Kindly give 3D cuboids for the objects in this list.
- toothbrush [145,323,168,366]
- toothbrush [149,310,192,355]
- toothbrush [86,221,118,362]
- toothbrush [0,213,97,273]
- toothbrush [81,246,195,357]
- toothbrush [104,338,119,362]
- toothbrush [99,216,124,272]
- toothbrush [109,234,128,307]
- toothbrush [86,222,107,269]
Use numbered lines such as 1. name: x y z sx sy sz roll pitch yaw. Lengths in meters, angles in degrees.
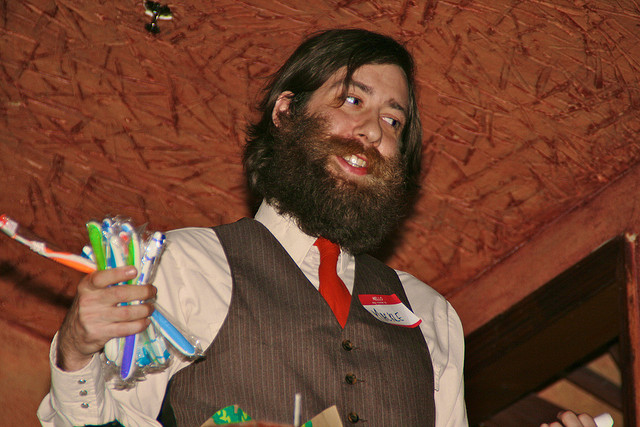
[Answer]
1. toothbrush: -0.610 0.512 2.819 0.081 0.102 0.367 -5 7 -12
2. toothbrush: -0.557 0.442 2.770 0.205 0.049 0.051 47 -3 -1
3. toothbrush: -0.773 0.276 2.757 0.108 0.509 0.042 -10 -1 5
4. toothbrush: -1.238 0.137 3.366 0.508 0.118 0.061 26 13 -6
5. toothbrush: -0.678 0.333 2.744 0.025 0.531 0.062 -20 29 30
6. toothbrush: -0.756 0.493 2.734 0.064 0.083 0.024 28 18 14
7. toothbrush: -0.756 0.117 2.716 0.062 0.257 0.032 -5 -3 -6
8. toothbrush: -0.729 0.201 2.728 0.062 0.281 0.033 -9 -11 5
9. toothbrush: -0.804 0.113 2.728 0.050 0.196 0.023 -9 14 20
